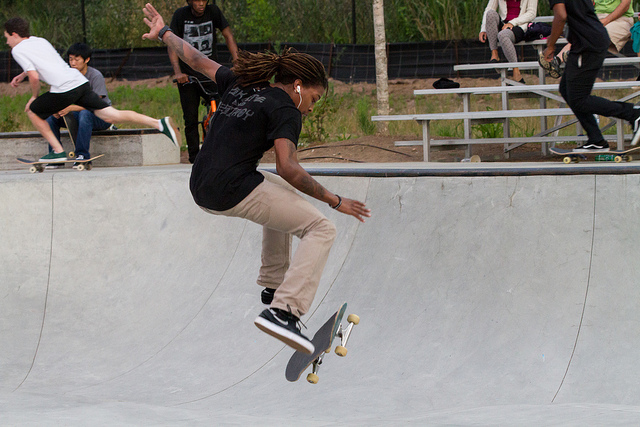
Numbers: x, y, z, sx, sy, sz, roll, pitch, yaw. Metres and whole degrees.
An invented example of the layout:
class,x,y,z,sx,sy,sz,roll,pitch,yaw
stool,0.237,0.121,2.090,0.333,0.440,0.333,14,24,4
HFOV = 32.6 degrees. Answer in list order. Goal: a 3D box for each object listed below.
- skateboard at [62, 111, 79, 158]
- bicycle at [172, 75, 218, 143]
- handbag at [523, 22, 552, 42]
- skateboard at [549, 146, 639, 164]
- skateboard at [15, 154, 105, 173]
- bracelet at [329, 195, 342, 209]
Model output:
class,x,y,z,sx,sy,sz,roll,pitch,yaw
skateboard,-3.840,-1.279,16.843,0.208,0.806,0.131,-6,10,-14
bicycle,-1.857,-1.648,16.977,0.513,1.038,1.175,-1,15,-1
handbag,3.532,-2.997,17.845,0.417,0.208,0.508,-2,-1,-32
skateboard,3.807,-0.866,15.624,1.424,0.247,0.402,3,14,14
skateboard,-3.994,-0.762,16.595,1.648,0.288,0.435,1,7,-2
bracelet,0.186,-0.139,13.209,0.136,0.208,0.213,-1,15,-1
